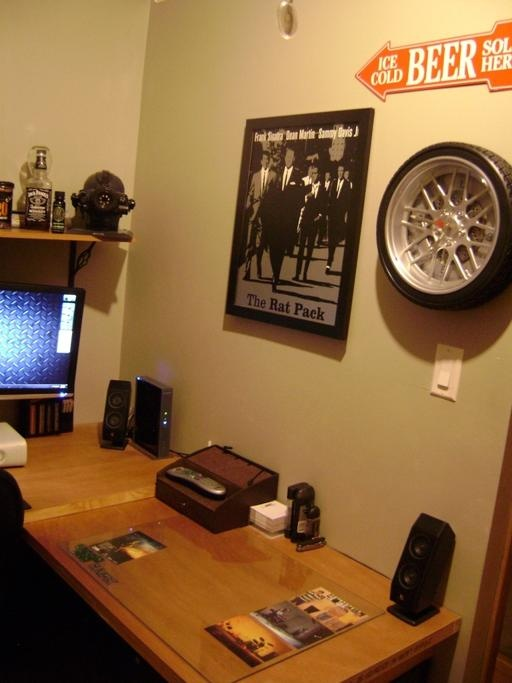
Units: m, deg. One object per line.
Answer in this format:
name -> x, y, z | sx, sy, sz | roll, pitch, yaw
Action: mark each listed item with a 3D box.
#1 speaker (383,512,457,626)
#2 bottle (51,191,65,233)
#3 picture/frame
speaker -> 0.391, 0.533, 1.272 | 0.135, 0.237, 0.103 | 0, 9, -42
bottle -> -0.725, -0.477, 1.960 | 0.041, 0.158, 0.096 | 3, 7, -21
picture/frame -> 0.147, -0.362, 1.637 | 0.032, 0.749, 0.631 | -2, 16, -34
